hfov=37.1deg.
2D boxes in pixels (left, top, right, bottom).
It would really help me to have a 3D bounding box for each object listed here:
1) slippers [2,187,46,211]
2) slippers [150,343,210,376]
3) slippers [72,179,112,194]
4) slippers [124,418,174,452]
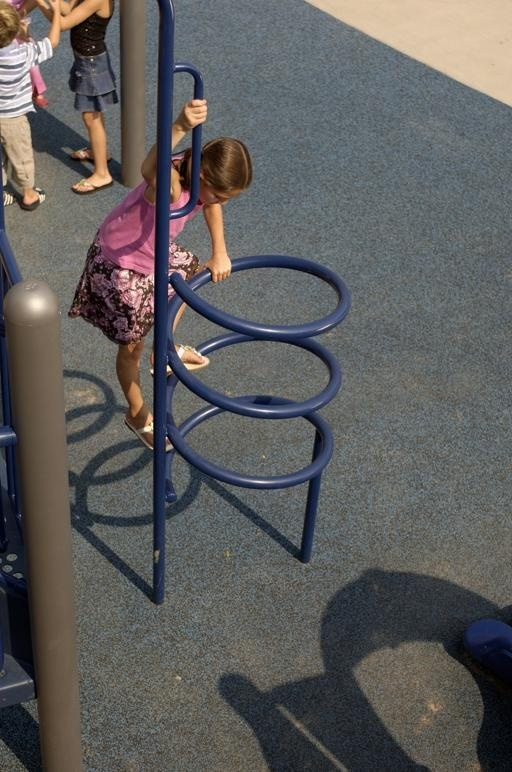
[{"bbox_3d":[-1.298,-1.050,4.285,0.228,0.069,0.133,8,58,17],"label":"slippers"},{"bbox_3d":[-0.297,-0.106,3.125,0.248,0.083,0.127,1,20,12],"label":"slippers"},{"bbox_3d":[-0.948,-1.156,4.428,0.206,0.053,0.089,-11,72,-12],"label":"slippers"},{"bbox_3d":[-0.379,0.176,2.728,0.191,0.067,0.081,39,49,13],"label":"slippers"}]
